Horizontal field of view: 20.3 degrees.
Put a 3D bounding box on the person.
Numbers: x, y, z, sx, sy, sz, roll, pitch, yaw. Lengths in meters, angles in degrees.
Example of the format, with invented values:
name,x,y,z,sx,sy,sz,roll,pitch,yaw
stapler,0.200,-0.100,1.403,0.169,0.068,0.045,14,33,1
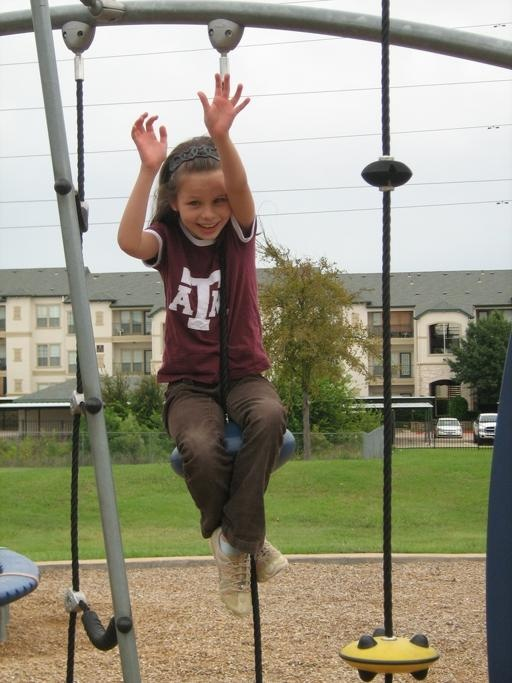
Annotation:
name,x,y,z,sx,sy,sz,roll,pitch,yaw
person,-0.197,0.026,5.632,0.618,2.110,0.561,-1,-2,20
